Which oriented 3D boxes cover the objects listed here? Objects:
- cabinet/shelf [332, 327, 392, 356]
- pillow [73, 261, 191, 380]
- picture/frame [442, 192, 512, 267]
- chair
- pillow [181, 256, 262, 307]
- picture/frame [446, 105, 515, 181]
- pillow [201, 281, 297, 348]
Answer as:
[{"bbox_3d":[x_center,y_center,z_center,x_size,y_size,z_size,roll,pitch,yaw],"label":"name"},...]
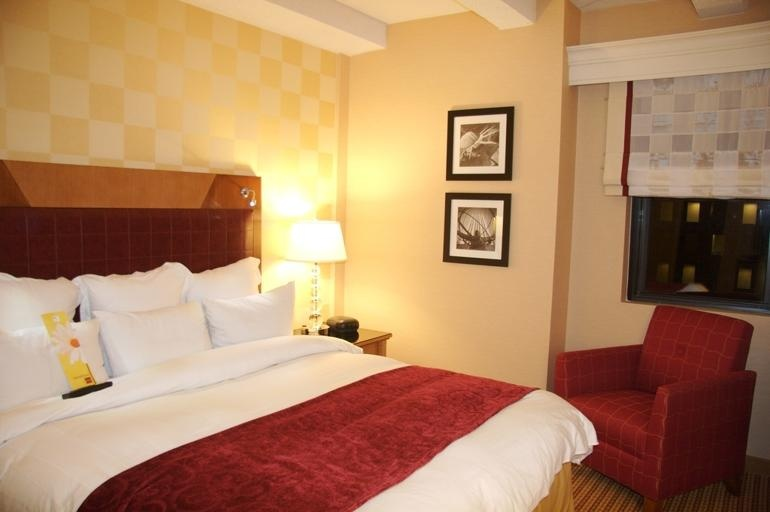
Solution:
[{"bbox_3d":[-0.154,0.868,5.400,0.298,0.294,0.287,2,1,43],"label":"cabinet/shelf"},{"bbox_3d":[-2.002,0.458,4.086,0.264,0.631,0.923,-17,-9,36],"label":"pillow"},{"bbox_3d":[0.948,-0.277,5.230,0.754,0.778,0.029,3,3,34],"label":"picture/frame"},{"bbox_3d":[2.252,1.098,4.847,1.673,1.895,1.394,0,2,-34],"label":"chair"},{"bbox_3d":[-1.432,0.229,4.480,0.405,0.226,0.128,-11,-19,-46],"label":"pillow"},{"bbox_3d":[0.972,-1.137,5.178,0.786,0.748,0.054,4,7,33],"label":"picture/frame"},{"bbox_3d":[-1.159,0.501,4.328,0.510,0.325,0.138,-6,-24,-35],"label":"pillow"}]
